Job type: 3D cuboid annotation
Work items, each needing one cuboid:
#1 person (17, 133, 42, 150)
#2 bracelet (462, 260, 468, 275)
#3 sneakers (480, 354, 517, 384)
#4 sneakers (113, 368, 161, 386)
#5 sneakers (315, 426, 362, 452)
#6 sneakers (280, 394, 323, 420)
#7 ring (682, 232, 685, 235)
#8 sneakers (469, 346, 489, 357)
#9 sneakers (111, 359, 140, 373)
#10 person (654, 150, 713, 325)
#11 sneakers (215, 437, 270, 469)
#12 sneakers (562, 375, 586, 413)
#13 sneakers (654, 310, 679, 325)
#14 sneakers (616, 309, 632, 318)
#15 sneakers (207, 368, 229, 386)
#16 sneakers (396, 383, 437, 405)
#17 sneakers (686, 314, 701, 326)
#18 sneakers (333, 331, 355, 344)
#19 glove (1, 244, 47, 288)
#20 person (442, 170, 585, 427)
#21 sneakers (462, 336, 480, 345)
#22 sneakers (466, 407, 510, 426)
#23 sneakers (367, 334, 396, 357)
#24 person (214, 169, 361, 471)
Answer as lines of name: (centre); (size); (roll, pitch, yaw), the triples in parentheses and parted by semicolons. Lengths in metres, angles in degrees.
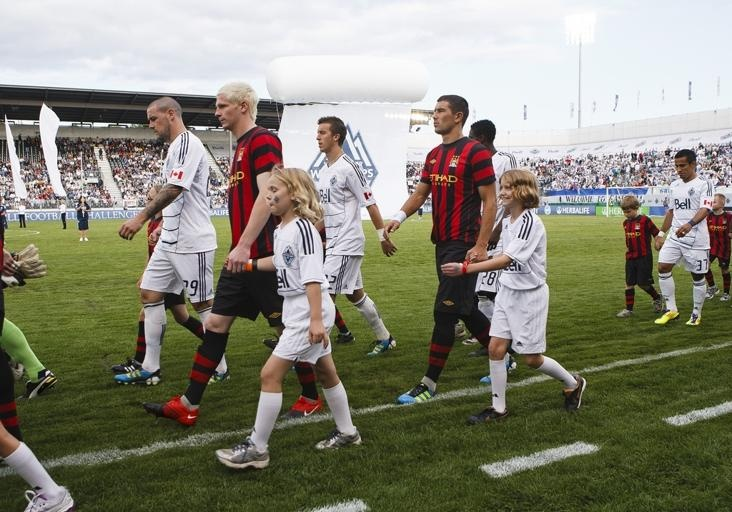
person: (-25.999, -8.784, 41.239); (1.322, 1.394, 0.335); (-6, -33, -23)
bracelet: (0.791, 0.089, 4.264); (0.054, 0.092, 0.069); (6, 12, -7)
sneakers: (1.333, 1.093, 5.221); (0.206, 0.281, 0.621); (-22, -23, 34)
sneakers: (-2.125, 1.113, 5.119); (0.460, 0.192, 0.164); (6, -7, -4)
sneakers: (-0.193, 1.341, 3.947); (0.367, 0.145, 0.128); (1, -11, -12)
sneakers: (-0.520, 1.239, 4.416); (0.368, 0.143, 0.119); (3, -7, -43)
ring: (4.035, -0.291, 6.818); (0.032, 0.030, 0.032); (-5, 35, 4)
sneakers: (1.196, 1.035, 5.820); (0.271, 0.104, 0.089); (2, -3, -18)
sneakers: (-2.401, 1.091, 5.350); (0.357, 0.151, 0.128); (2, -8, 5)
person: (4.256, -0.300, 7.206); (0.623, 2.226, 1.159); (4, 9, 32)
sneakers: (-0.849, 1.333, 3.699); (0.389, 0.211, 0.157); (7, -4, -11)
sneakers: (1.721, 1.142, 4.481); (0.148, 0.337, 0.122); (8, -3, -25)
sneakers: (3.922, 0.797, 7.056); (0.435, 0.180, 0.157); (-10, -1, -26)
sneakers: (3.559, 0.782, 7.412); (0.270, 0.113, 0.101); (0, -2, -16)
sneakers: (-1.388, 1.156, 5.098); (0.113, 0.136, 0.310); (-8, -13, 30)
sneakers: (0.447, 1.186, 4.689); (0.356, 0.149, 0.134); (2, 0, -30)
sneakers: (4.227, 0.809, 6.902); (0.353, 0.155, 0.116); (0, -10, -40)
sneakers: (-0.259, 0.974, 6.394); (0.262, 0.111, 0.094); (1, -9, -13)
glove: (-2.718, 0.065, 4.226); (0.388, 0.305, 0.172); (-18, -3, -29)
person: (1.221, 0.284, 4.369); (1.078, 1.968, 0.429); (-2, 8, -12)
sneakers: (1.221, 0.978, 6.250); (0.084, 0.115, 0.251); (-6, -15, 35)
sneakers: (0.970, 1.256, 4.264); (0.331, 0.107, 0.117); (-2, -7, -17)
sneakers: (0.173, 1.005, 5.975); (0.388, 0.177, 0.131); (-33, 1, -11)
person: (-0.546, 0.399, 3.834); (1.197, 2.021, 0.853); (2, -4, -41)
